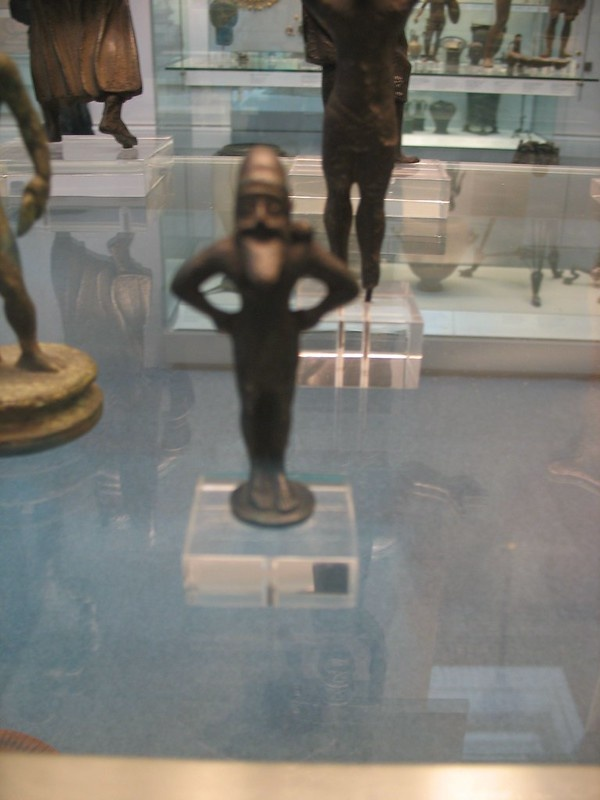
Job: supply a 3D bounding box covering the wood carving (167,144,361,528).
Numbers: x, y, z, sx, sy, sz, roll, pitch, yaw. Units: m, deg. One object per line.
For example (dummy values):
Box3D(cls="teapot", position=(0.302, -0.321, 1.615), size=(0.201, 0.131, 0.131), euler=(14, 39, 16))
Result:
Box3D(cls="wood carving", position=(-0.077, -0.136, 1.868), size=(0.457, 0.966, 0.266), euler=(-5, 27, -8))
